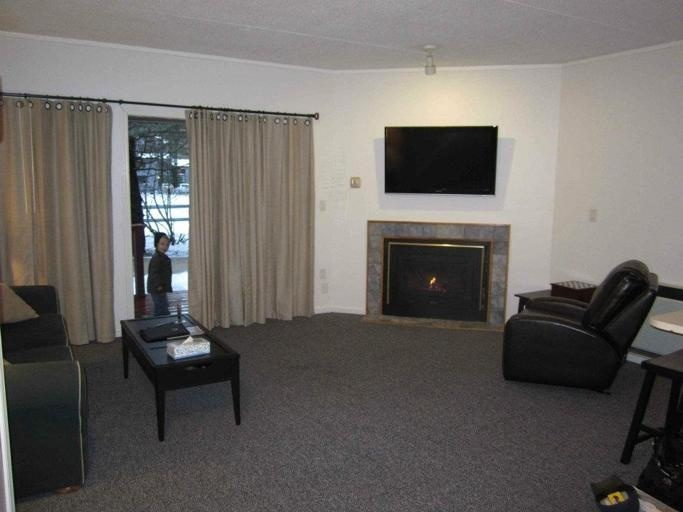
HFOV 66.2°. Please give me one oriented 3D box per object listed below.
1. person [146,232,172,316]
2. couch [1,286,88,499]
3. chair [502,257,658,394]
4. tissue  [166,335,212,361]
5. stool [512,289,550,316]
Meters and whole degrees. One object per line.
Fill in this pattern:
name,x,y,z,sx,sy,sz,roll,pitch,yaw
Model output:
person,-1.964,0.189,5.629,0.265,0.888,0.093,-4,14,-17
couch,-2.248,0.826,3.896,0.442,0.815,2.152,-8,16,-31
chair,2.023,0.428,4.543,1.093,1.051,1.064,4,9,25
tissue ,-1.099,0.662,3.766,0.319,0.096,0.228,-5,15,-20
stool,1.913,0.451,5.216,0.144,0.213,0.215,-15,20,-43
